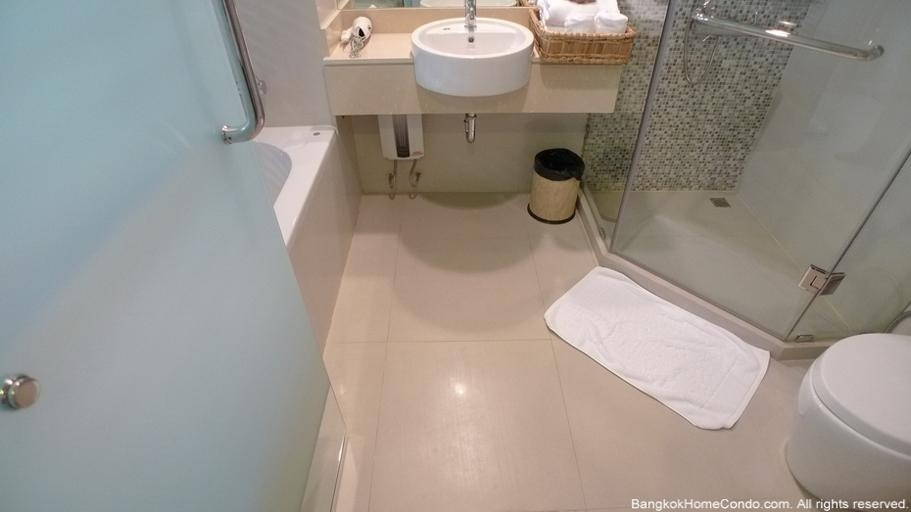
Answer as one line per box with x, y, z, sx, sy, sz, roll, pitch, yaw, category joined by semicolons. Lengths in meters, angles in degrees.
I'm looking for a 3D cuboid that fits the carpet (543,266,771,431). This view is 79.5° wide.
0.973;0.447;2.707;0.863;0.127;0.585;34;61;30;carpet

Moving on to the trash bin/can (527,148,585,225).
0.508;-0.411;3.371;0.412;0.439;0.417;-2;43;0;trash bin/can

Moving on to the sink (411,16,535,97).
0.082;-0.977;2.734;0.588;0.279;0.503;-3;38;-3;sink

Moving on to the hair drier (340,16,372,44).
-0.527;-1.183;2.872;0.146;0.144;0.109;25;56;0;hair drier
